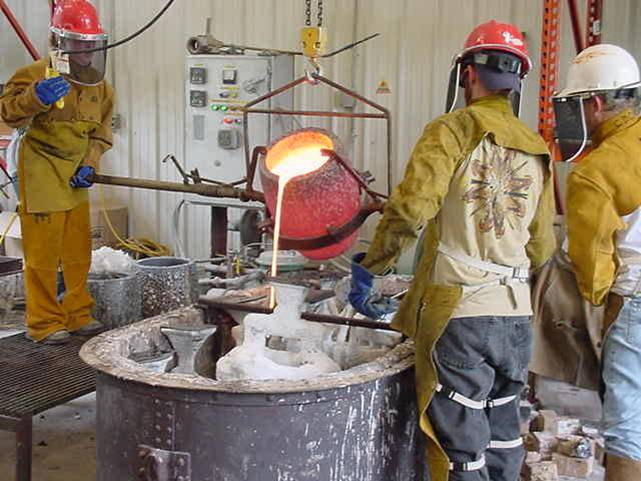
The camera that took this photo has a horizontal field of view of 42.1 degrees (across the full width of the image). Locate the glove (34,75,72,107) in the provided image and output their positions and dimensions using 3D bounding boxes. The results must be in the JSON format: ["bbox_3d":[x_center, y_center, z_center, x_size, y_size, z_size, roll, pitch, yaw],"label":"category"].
[{"bbox_3d":[-1.448,-0.800,4.474,0.129,0.174,0.171,14,26,-35],"label":"glove"}]

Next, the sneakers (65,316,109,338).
[{"bbox_3d":[-1.349,0.502,4.843,0.094,0.099,0.230,2,-12,-36],"label":"sneakers"}]

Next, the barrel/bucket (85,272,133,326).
[{"bbox_3d":[-1.279,0.351,5.033,0.285,0.286,0.292,0,2,0],"label":"barrel/bucket"}]

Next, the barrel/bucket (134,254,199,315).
[{"bbox_3d":[-0.949,0.218,5.171,0.393,0.383,0.391,0,8,0],"label":"barrel/bucket"}]

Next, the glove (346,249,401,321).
[{"bbox_3d":[0.230,0.219,3.599,0.214,0.279,0.173,-14,-16,-9],"label":"glove"}]

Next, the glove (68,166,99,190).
[{"bbox_3d":[-1.359,-0.353,4.764,0.129,0.177,0.068,31,-25,-19],"label":"glove"}]

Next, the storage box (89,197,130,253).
[{"bbox_3d":[-1.824,-0.121,7.166,0.331,0.380,0.335,21,29,37],"label":"storage box"}]

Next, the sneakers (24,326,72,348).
[{"bbox_3d":[-1.543,0.547,4.685,0.223,0.096,0.098,-1,19,0],"label":"sneakers"}]
